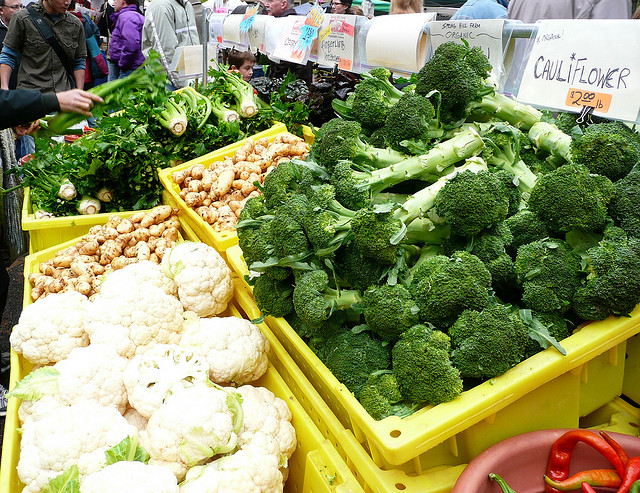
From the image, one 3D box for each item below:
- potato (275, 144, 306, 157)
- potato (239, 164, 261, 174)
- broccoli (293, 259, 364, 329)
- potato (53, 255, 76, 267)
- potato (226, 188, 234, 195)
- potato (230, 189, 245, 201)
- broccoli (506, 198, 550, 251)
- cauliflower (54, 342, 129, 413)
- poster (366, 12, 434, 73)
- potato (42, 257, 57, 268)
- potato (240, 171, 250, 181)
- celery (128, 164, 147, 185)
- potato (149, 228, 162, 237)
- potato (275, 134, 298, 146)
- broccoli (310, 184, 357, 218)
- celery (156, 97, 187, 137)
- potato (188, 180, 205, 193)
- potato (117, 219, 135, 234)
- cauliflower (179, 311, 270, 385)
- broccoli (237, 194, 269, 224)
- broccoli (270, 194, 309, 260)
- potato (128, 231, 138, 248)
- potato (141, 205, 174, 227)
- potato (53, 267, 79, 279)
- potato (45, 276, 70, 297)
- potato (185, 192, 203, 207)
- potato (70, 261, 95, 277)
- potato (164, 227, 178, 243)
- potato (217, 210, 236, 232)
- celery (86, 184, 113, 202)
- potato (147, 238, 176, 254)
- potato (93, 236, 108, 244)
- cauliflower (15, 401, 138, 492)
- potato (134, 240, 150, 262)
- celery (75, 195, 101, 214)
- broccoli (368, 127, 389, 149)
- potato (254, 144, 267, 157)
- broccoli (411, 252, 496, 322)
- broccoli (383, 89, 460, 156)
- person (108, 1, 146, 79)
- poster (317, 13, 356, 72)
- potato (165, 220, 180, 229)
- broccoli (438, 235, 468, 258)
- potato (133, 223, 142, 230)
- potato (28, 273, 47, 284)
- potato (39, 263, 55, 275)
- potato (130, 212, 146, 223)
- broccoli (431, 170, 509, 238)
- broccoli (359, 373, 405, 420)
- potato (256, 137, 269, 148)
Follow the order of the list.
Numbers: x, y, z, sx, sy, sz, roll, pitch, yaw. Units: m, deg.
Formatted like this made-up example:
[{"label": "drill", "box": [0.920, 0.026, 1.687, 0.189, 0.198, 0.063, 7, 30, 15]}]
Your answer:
[{"label": "potato", "box": [-0.237, -0.752, 3.632, 0.248, 0.090, 0.065, -4, 28, -15]}, {"label": "potato", "box": [-0.538, -0.581, 3.501, 0.143, 0.063, 0.048, 3, 51, 0]}, {"label": "broccoli", "box": [0.045, 0.202, 1.922, 0.386, 0.184, 0.287, -11, -1, -9]}, {"label": "potato", "box": [-1.738, 0.093, 3.102, 0.091, 0.029, 0.091, 14, 25, 28]}, {"label": "potato", "box": [-0.674, -0.416, 3.469, 0.039, 0.020, 0.037, -12, -9, -21]}, {"label": "potato", "box": [-0.611, -0.370, 3.393, 0.093, 0.050, 0.075, -12, 57, 9]}, {"label": "broccoli", "box": [0.802, -0.087, 1.835, 0.145, 0.091, 0.179, -28, 29, -21]}, {"label": "cauliflower", "box": [-1.005, 0.547, 2.061, 0.261, 0.179, 0.317, -27, 45, -17]}, {"label": "poster", "box": [0.467, -1.193, 2.814, 0.370, 0.246, 0.274, 16, 25, 27]}, {"label": "potato", "box": [-1.837, 0.101, 3.127, 0.068, 0.017, 0.065, -9, 28, 11]}, {"label": "potato", "box": [-0.570, -0.533, 3.472, 0.068, 0.073, 0.066, 7, 29, 22]}, {"label": "celery", "box": [-1.364, -0.552, 3.459, 0.124, 0.118, 0.059, 4, 4, -37]}, {"label": "potato", "box": [-1.167, -0.102, 3.255, 0.063, 0.053, 0.033, 32, 31, -38]}, {"label": "potato", "box": [-0.276, -0.867, 3.724, 0.125, 0.045, 0.118, -1, 26, -10]}, {"label": "broccoli", "box": [0.045, -0.188, 1.950, 0.184, 0.084, 0.115, 25, 3, 7]}, {"label": "celery", "box": [-1.172, -1.020, 3.669, 0.296, 0.210, 0.123, 46, 3, 29]}, {"label": "potato", "box": [-0.917, -0.439, 3.363, 0.102, 0.059, 0.112, 17, 29, 25]}, {"label": "potato", "box": [-1.374, -0.142, 3.244, 0.088, 0.068, 0.114, 10, 26, 12]}, {"label": "cauliflower", "box": [-0.406, 0.435, 2.098, 0.387, 0.186, 0.279, 20, 15, -4]}, {"label": "broccoli", "box": [-0.328, -0.190, 2.391, 0.129, 0.085, 0.162, 20, 73, 24]}, {"label": "broccoli", "box": [-0.087, -0.073, 2.016, 0.185, 0.127, 0.237, -12, 50, 39]}, {"label": "potato", "box": [-1.320, -0.045, 3.232, 0.087, 0.082, 0.048, 19, -4, -42]}, {"label": "potato", "box": [-1.178, -0.206, 3.349, 0.201, 0.051, 0.109, -29, 30, -15]}, {"label": "potato", "box": [-1.697, 0.181, 3.067, 0.122, 0.045, 0.080, 8, 43, 14]}, {"label": "potato", "box": [-1.689, 0.242, 2.959, 0.128, 0.048, 0.099, -39, 24, -25]}, {"label": "potato", "box": [-0.900, -0.336, 3.262, 0.101, 0.042, 0.106, 30, 32, -6]}, {"label": "potato", "box": [-1.560, 0.142, 3.052, 0.156, 0.077, 0.050, 28, 4, 12]}, {"label": "potato", "box": [-1.044, -0.084, 3.244, 0.063, 0.036, 0.115, 5, 24, 0]}, {"label": "potato", "box": [-0.628, -0.169, 3.064, 0.124, 0.051, 0.198, -18, 38, -1]}, {"label": "celery", "box": [-1.672, -0.406, 3.512, 0.175, 0.067, 0.083, 17, 7, -12]}, {"label": "potato", "box": [-1.070, 0.017, 3.159, 0.185, 0.066, 0.176, -10, 13, -7]}, {"label": "potato", "box": [-1.524, -0.049, 3.175, 0.060, 0.032, 0.046, 2, -16, 5]}, {"label": "cauliflower", "box": [-0.969, 0.754, 1.849, 0.390, 0.171, 0.371, -8, 16, -3]}, {"label": "potato", "box": [-1.211, 0.028, 3.140, 0.088, 0.053, 0.158, -14, 42, 2]}, {"label": "celery", "box": [-1.746, -0.310, 3.476, 0.162, 0.116, 0.121, -9, 41, -13]}, {"label": "broccoli", "box": [0.285, -0.494, 2.176, 0.096, 0.098, 0.052, 9, -3, 44]}, {"label": "potato", "box": [-0.484, -0.771, 3.703, 0.093, 0.055, 0.100, 0, 47, -9]}, {"label": "broccoli", "box": [0.495, 0.164, 1.756, 0.254, 0.264, 0.277, -14, -27, 30]}, {"label": "broccoli", "box": [0.410, -0.510, 2.056, 0.322, 0.289, 0.269, -14, 2, 9]}, {"label": "person", "box": [-3.051, -3.216, 7.275, 0.543, 1.140, 0.937, -9, 29, -24]}, {"label": "poster", "box": [0.134, -1.527, 3.449, 0.109, 0.359, 0.434, -20, 36, -33]}, {"label": "potato", "box": [-1.085, -0.165, 3.364, 0.068, 0.032, 0.066, -1, 8, 10]}, {"label": "broccoli", "box": [0.528, -0.003, 1.816, 0.076, 0.043, 0.092, -4, 15, -7]}, {"label": "potato", "box": [-1.311, -0.147, 3.302, 0.044, 0.042, 0.025, -30, -24, 33]}, {"label": "potato", "box": [-1.884, 0.209, 3.059, 0.096, 0.036, 0.062, -8, 22, -35]}, {"label": "potato", "box": [-1.862, 0.132, 3.116, 0.087, 0.032, 0.083, -2, 20, -16]}, {"label": "potato", "box": [-1.316, -0.215, 3.325, 0.095, 0.069, 0.049, -9, 66, 10]}, {"label": "broccoli", "box": [0.559, -0.166, 1.831, 0.256, 0.244, 0.263, -16, 7, 1]}, {"label": "broccoli", "box": [0.208, 0.507, 1.632, 0.122, 0.076, 0.150, -30, 28, -13]}, {"label": "potato", "box": [-0.471, -0.860, 3.801, 0.086, 0.045, 0.084, -29, 63, -27]}]
